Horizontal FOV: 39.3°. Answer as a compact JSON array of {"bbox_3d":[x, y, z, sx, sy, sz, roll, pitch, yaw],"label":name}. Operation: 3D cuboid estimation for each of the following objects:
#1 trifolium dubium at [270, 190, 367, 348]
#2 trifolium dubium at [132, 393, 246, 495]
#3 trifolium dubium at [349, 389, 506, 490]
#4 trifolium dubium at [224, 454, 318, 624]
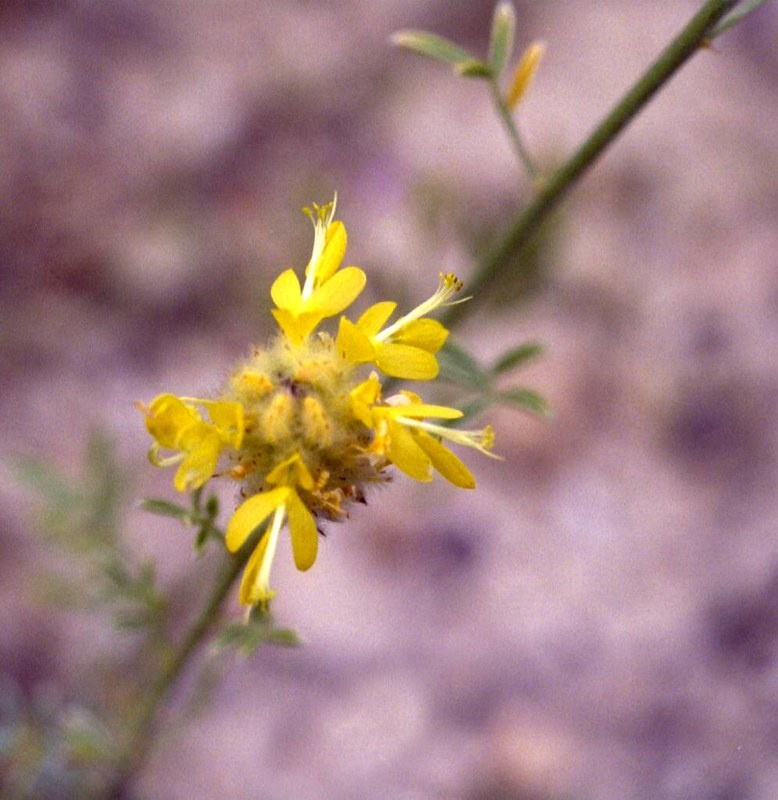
[{"bbox_3d":[-0.127,-0.219,1.777,0.148,0.267,0.202,-10,-10,-5],"label":"trifolium dubium"},{"bbox_3d":[-0.317,0.042,1.682,0.130,0.078,0.148,-13,24,-43],"label":"trifolium dubium"},{"bbox_3d":[0.062,0.067,1.737,0.205,0.185,0.184,-13,-11,5],"label":"trifolium dubium"},{"bbox_3d":[-0.180,0.214,1.714,0.139,0.211,0.180,-10,-11,-5],"label":"trifolium dubium"}]
